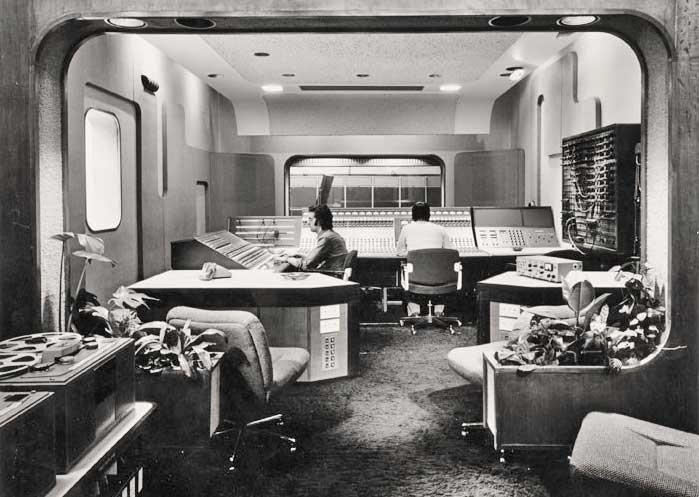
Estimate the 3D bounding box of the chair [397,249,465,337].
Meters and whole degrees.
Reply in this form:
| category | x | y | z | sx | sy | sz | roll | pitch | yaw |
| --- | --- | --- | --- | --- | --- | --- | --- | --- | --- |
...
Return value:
| category | x | y | z | sx | sy | sz | roll | pitch | yaw |
| --- | --- | --- | --- | --- | --- | --- | --- | --- | --- |
| chair | 0.815 | 0.425 | 6.196 | 0.865 | 1.049 | 0.783 | 0 | 3 | -1 |

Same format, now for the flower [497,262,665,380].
| category | x | y | z | sx | sy | sz | roll | pitch | yaw |
| --- | --- | --- | --- | --- | --- | --- | --- | --- | --- |
| flower | 1.247 | 0.455 | 3.286 | 0.734 | 0.372 | 0.543 | -18 | 11 | -17 |

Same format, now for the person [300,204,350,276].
| category | x | y | z | sx | sy | sz | roll | pitch | yaw |
| --- | --- | --- | --- | --- | --- | --- | --- | --- | --- |
| person | -0.178 | -0.089 | 5.638 | 0.584 | 0.760 | 0.522 | 3 | 3 | 10 |

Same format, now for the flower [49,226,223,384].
| category | x | y | z | sx | sy | sz | roll | pitch | yaw |
| --- | --- | --- | --- | --- | --- | --- | --- | --- | --- |
| flower | -1.148 | 0.333 | 3.536 | 1.016 | 0.598 | 0.678 | 18 | 4 | 12 |

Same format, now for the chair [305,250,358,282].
| category | x | y | z | sx | sy | sz | roll | pitch | yaw |
| --- | --- | --- | --- | --- | --- | --- | --- | --- | --- |
| chair | -0.139 | 0.134 | 5.310 | 0.311 | 0.365 | 0.287 | 2 | 2 | 11 |
